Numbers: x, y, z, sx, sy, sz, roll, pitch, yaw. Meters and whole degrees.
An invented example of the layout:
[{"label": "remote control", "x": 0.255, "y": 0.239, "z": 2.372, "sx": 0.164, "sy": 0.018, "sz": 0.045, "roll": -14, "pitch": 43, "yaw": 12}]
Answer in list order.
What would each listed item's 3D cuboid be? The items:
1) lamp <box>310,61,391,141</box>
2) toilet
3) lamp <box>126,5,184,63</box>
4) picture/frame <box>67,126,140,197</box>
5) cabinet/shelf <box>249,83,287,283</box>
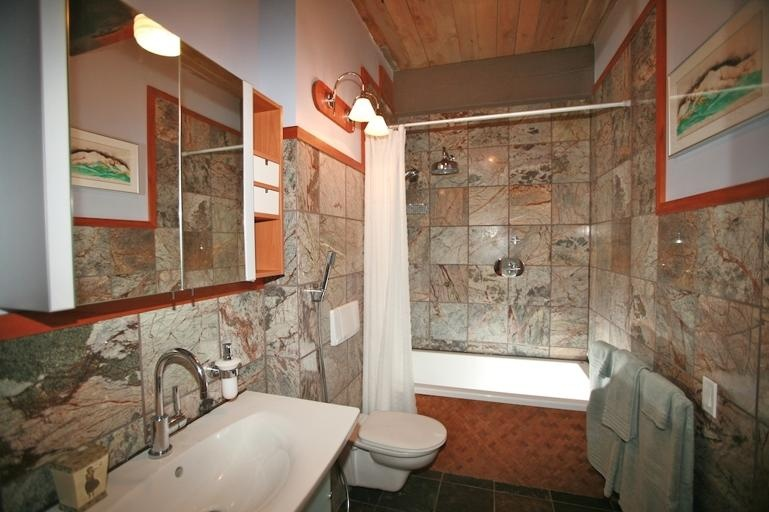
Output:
[{"label": "lamp", "x": -0.171, "y": -0.972, "z": 3.133, "sx": 0.346, "sy": 0.296, "sz": 0.635, "roll": 6, "pitch": 1, "yaw": 12}, {"label": "toilet", "x": 0.060, "y": 1.216, "z": 3.018, "sx": 0.601, "sy": 0.410, "sz": 0.390, "roll": 0, "pitch": 7, "yaw": 13}, {"label": "lamp", "x": -0.919, "y": -0.899, "z": 1.980, "sx": 0.171, "sy": 0.067, "sz": 0.173, "roll": 6, "pitch": -2, "yaw": 6}, {"label": "picture/frame", "x": -1.083, "y": -0.364, "z": 1.864, "sx": 0.005, "sy": 0.215, "sz": 0.296, "roll": 5, "pitch": 4, "yaw": 42}, {"label": "cabinet/shelf", "x": -0.620, "y": -0.366, "z": 2.610, "sx": 0.147, "sy": 0.941, "sz": 0.261, "roll": 0, "pitch": -1, "yaw": -13}]
